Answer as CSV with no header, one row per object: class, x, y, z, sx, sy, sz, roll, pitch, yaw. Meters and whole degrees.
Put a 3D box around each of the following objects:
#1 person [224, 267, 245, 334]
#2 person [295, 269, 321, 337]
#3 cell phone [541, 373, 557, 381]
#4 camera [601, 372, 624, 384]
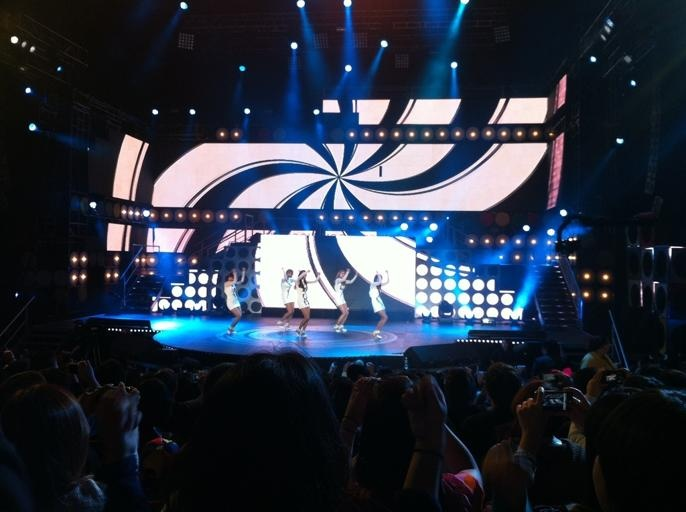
person,-2.622,1.158,14.237,0.465,1.621,0.571,-4,7,-17
person,-0.884,1.152,14.739,0.652,1.691,0.867,-12,-18,21
cell phone,1.797,1.062,5.068,0.046,0.067,0.088,6,-9,-32
camera,2.517,1.138,5.409,0.180,0.115,0.039,-9,-10,31
